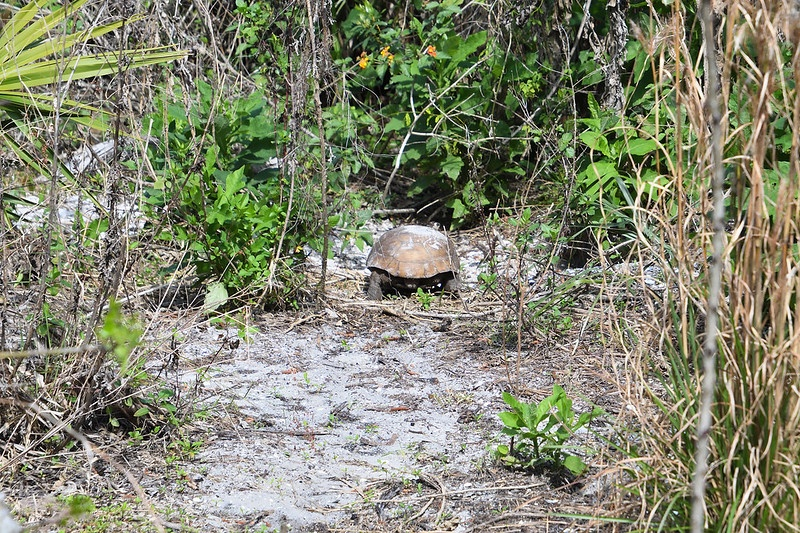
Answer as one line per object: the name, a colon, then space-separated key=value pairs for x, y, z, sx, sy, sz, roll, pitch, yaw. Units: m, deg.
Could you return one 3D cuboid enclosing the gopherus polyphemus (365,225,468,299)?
gopherus polyphemus: x=0.102 y=0.043 z=6.481 sx=0.731 sy=0.496 sz=0.670 roll=1 pitch=29 yaw=-4
